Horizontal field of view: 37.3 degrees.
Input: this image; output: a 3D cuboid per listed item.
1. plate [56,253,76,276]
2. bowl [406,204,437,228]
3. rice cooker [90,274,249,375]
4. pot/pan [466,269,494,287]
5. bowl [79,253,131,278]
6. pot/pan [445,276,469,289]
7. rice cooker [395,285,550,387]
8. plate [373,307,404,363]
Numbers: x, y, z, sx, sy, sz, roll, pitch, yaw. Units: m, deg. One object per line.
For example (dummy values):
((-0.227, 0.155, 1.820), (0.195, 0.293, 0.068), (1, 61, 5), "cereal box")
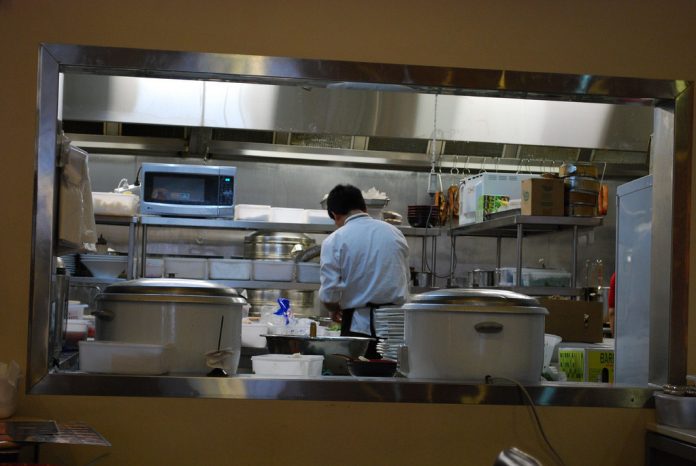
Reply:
((-1.588, 0.164, 5.803), (0.071, 0.169, 0.128), (-6, -5, 25), "plate")
((0.539, -0.130, 7.469), (0.165, 0.110, 0.163), (0, -1, 0), "bowl")
((-0.780, 0.400, 4.521), (0.654, 0.412, 0.210), (3, -4, -14), "rice cooker")
((0.929, 0.302, 7.062), (0.098, 0.132, 0.178), (3, -5, -30), "pot/pan")
((-1.606, 0.211, 6.801), (0.310, 0.155, 0.169), (3, -4, -15), "bowl")
((0.806, 0.352, 7.583), (0.122, 0.064, 0.098), (0, 0, 11), "pot/pan")
((0.551, 0.449, 4.537), (0.628, 0.400, 0.186), (2, -4, 0), "rice cooker")
((0.205, 0.473, 4.925), (0.204, 0.253, 0.252), (0, -1, -10), "plate")
